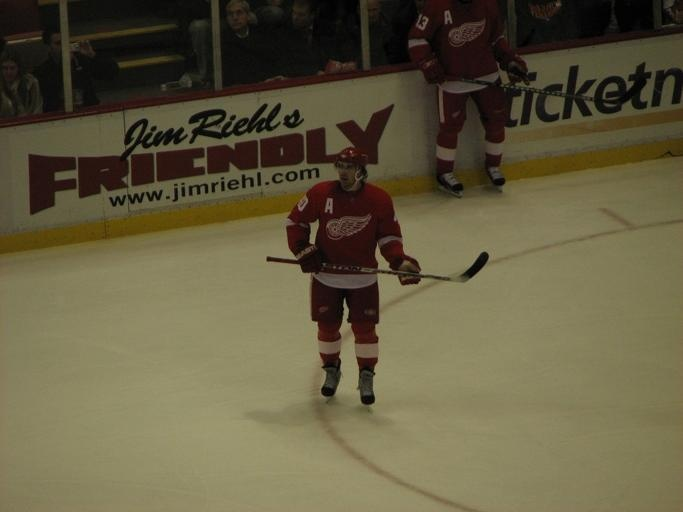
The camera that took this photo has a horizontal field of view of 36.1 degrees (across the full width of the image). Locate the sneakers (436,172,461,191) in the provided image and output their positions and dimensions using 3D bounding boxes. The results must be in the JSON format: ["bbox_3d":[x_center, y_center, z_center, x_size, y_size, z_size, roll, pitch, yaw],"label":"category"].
[{"bbox_3d":[1.051,-0.701,10.028,0.116,0.130,0.289,-18,26,-27],"label":"sneakers"}]

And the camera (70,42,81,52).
[{"bbox_3d":[-2.422,-1.881,9.477,0.115,0.096,0.062,1,16,-5],"label":"camera"}]

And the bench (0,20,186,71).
[{"bbox_3d":[-2.243,-1.889,9.547,1.562,0.405,0.148,-2,12,1],"label":"bench"}]

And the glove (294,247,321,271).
[{"bbox_3d":[-0.214,0.022,7.172,0.191,0.183,0.123,-6,13,-16],"label":"glove"}]

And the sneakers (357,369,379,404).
[{"bbox_3d":[0.169,0.916,7.220,0.092,0.253,0.178,-1,-26,-1],"label":"sneakers"}]

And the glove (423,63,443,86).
[{"bbox_3d":[0.847,-1.674,9.651,0.193,0.181,0.140,0,13,9],"label":"glove"}]

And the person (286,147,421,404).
[{"bbox_3d":[0.071,0.139,7.242,0.857,1.725,0.528,-3,12,-4],"label":"person"}]

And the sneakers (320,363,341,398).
[{"bbox_3d":[-0.070,0.874,7.299,0.093,0.192,0.276,2,36,14],"label":"sneakers"}]

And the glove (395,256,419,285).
[{"bbox_3d":[0.487,0.094,7.266,0.134,0.198,0.237,3,13,22],"label":"glove"}]

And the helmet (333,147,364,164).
[{"bbox_3d":[0.051,-0.700,7.221,0.164,0.126,0.125,9,-8,-12],"label":"helmet"}]

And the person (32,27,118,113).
[{"bbox_3d":[-2.462,-1.673,9.563,0.641,0.813,0.354,-7,18,-12],"label":"person"}]
